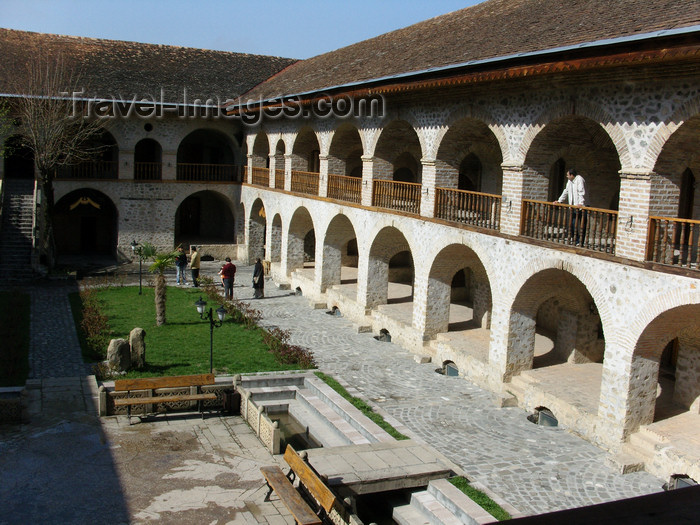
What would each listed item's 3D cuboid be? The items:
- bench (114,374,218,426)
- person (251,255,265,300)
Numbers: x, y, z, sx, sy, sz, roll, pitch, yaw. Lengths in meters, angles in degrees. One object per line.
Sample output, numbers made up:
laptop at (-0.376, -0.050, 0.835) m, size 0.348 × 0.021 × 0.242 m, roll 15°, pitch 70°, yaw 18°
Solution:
bench at (-3.881, 2.732, 11.010) m, size 2.103 × 0.788 × 0.823 m, roll 1°, pitch 3°, yaw -15°
person at (-3.545, 0.612, 20.650) m, size 0.393 × 1.611 × 1.165 m, roll 2°, pitch 3°, yaw -10°
